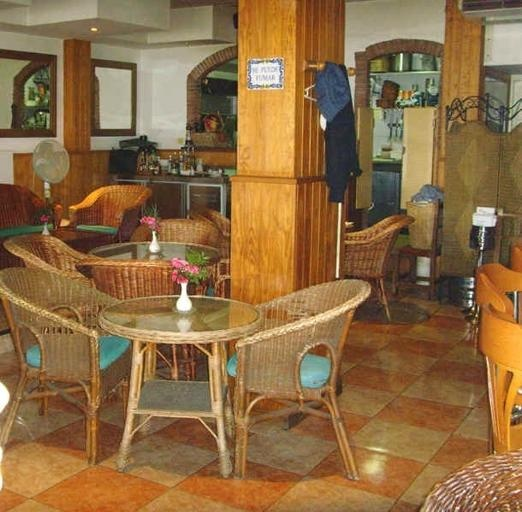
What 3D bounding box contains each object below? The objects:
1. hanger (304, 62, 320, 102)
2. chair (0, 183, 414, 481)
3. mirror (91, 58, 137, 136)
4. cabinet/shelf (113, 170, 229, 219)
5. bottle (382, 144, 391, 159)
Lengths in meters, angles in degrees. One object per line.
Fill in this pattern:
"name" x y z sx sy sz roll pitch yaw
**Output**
"hanger" 0.299 -1.049 3.305 0.070 0.174 0.153 10 11 28
"chair" -0.142 0.572 2.915 1.322 0.939 0.860 2 11 0
"mirror" -2.614 -2.778 9.722 0.254 1.336 1.103 8 12 21
"cabinet/shelf" -1.336 -0.928 8.495 1.463 0.754 0.428 1 5 15
"bottle" 2.405 -1.996 10.500 0.265 0.240 0.239 4 6 14
